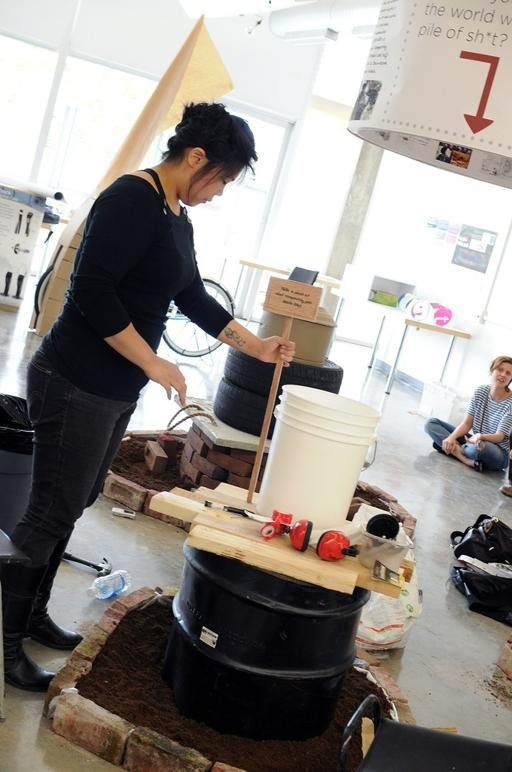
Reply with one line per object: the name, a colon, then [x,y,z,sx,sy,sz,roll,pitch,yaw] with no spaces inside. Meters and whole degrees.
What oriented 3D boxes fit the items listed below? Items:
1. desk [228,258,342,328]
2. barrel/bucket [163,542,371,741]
desk: [0.533,-1.365,9.097,1.154,1.163,1.211,3,10,21]
barrel/bucket: [-0.008,0.597,1.547,0.491,0.460,0.487,18,8,-2]
